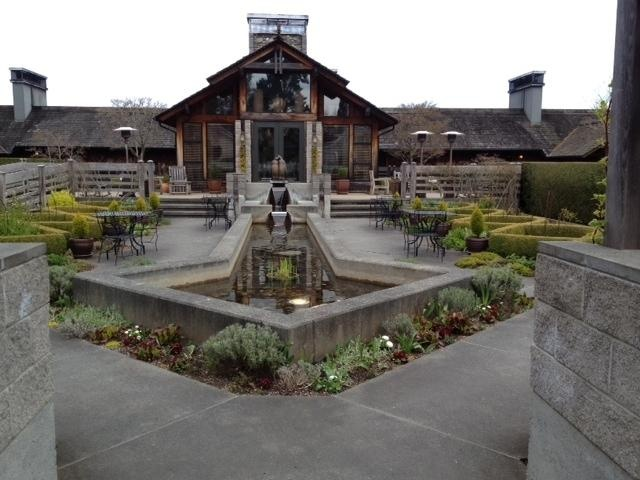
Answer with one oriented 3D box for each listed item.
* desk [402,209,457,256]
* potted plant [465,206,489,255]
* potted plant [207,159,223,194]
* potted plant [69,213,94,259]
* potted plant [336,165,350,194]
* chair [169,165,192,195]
[{"bbox_3d":[2.548,-0.279,11.446,1.041,0.941,2.779,2,9,13],"label":"desk"},{"bbox_3d":[3.499,-0.224,10.600,0.468,0.989,1.030,3,9,17],"label":"potted plant"},{"bbox_3d":[-5.360,-3.301,24.223,0.772,1.536,0.968,-1,9,-9],"label":"potted plant"},{"bbox_3d":[-4.993,-0.118,9.930,0.462,0.898,0.500,2,6,17],"label":"potted plant"},{"bbox_3d":[1.136,-3.117,24.155,0.691,1.310,1.594,1,9,2],"label":"potted plant"},{"bbox_3d":[-6.768,-2.960,22.823,0.918,1.267,1.562,-2,9,-17],"label":"chair"}]
